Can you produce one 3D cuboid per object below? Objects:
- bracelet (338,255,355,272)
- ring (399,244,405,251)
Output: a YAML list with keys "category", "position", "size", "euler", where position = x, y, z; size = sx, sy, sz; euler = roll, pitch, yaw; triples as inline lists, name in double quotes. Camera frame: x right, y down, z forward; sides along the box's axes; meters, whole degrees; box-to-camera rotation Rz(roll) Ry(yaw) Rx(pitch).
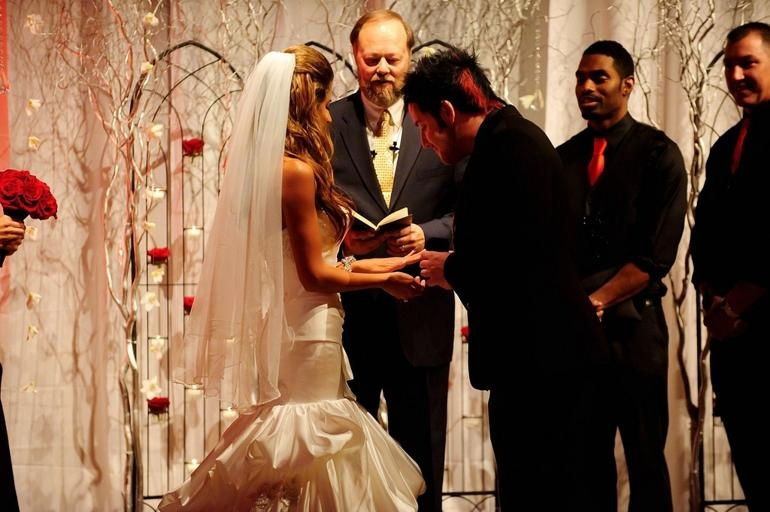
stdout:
- category: "bracelet"
  position: [-0.207, 0.054, 5.066]
  size: [0.078, 0.085, 0.029]
  euler: [-31, 22, -16]
- category: "ring"
  position: [0.100, -0.046, 5.045]
  size: [0.022, 0.030, 0.013]
  euler: [-5, 19, 5]
